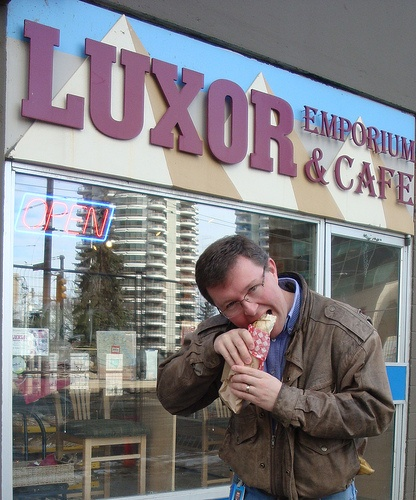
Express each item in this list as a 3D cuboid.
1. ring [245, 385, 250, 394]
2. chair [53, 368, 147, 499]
[{"bbox_3d":[0.142,0.511,2.737,0.016,0.018,0.018,1,-42,1],"label":"ring"},{"bbox_3d":[-0.762,1.153,4.536,0.548,1.008,0.598,7,-14,-35],"label":"chair"}]
